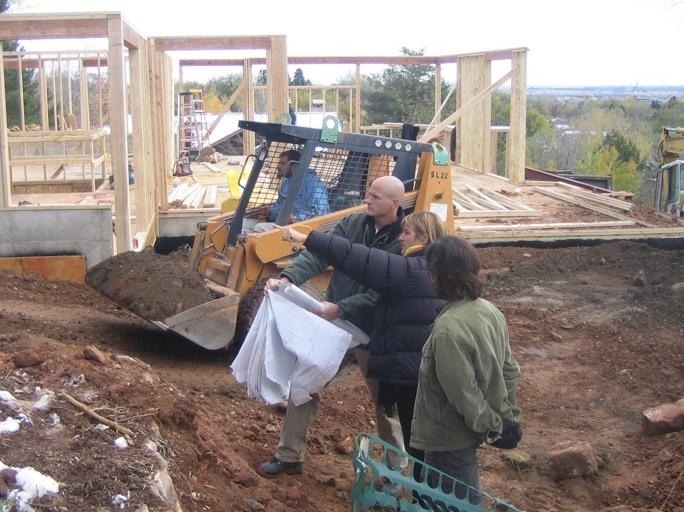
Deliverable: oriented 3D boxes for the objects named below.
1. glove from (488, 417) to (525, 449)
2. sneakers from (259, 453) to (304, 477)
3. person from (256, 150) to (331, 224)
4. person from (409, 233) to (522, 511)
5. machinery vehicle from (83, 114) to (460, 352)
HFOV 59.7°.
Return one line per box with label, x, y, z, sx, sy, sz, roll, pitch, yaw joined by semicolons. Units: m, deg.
glove;0.982;1.058;3.554;0.219;0.212;0.143;3;-3;-16
sneakers;-0.442;1.502;4.277;0.334;0.156;0.121;8;13;-22
person;-0.543;-0.797;6.943;0.869;0.922;0.592;-1;7;-16
person;0.726;0.714;3.398;0.616;1.603;0.547;5;11;15
machinery vehicle;-0.966;-0.292;6.823;3.952;2.229;2.430;-5;12;-26
